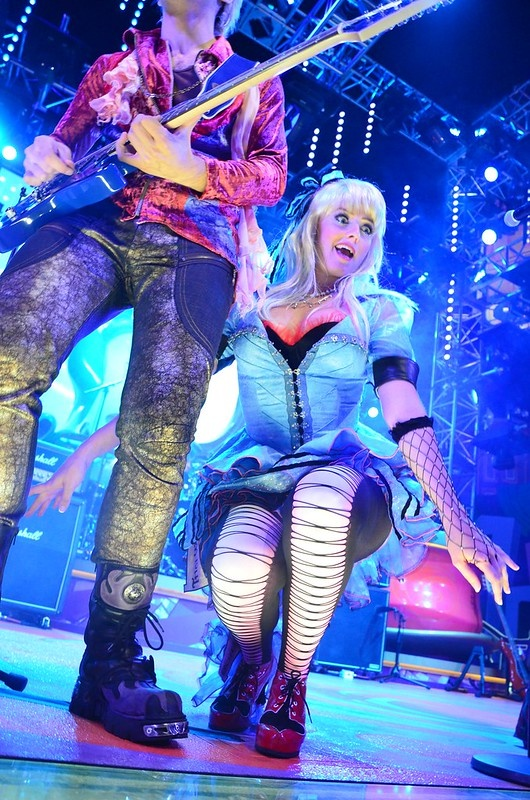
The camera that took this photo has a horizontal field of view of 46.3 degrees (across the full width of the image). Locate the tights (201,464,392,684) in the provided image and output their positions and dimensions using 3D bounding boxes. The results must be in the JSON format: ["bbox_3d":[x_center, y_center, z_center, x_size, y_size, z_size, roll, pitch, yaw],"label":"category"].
[{"bbox_3d":[0.071,0.279,1.309,0.293,0.477,0.232,2,2,20],"label":"tights"}]

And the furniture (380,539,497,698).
[{"bbox_3d":[1.596,1.758,5.299,1.189,1.188,0.898,-6,1,28],"label":"furniture"}]

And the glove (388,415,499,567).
[{"bbox_3d":[0.370,0.180,1.267,0.294,0.260,0.088,14,-7,46],"label":"glove"}]

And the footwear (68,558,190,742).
[{"bbox_3d":[-0.221,0.406,1.016,0.108,0.239,0.259,12,-13,-42],"label":"footwear"}]

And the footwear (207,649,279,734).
[{"bbox_3d":[-0.039,0.643,1.346,0.078,0.092,0.231,2,-17,12],"label":"footwear"}]
